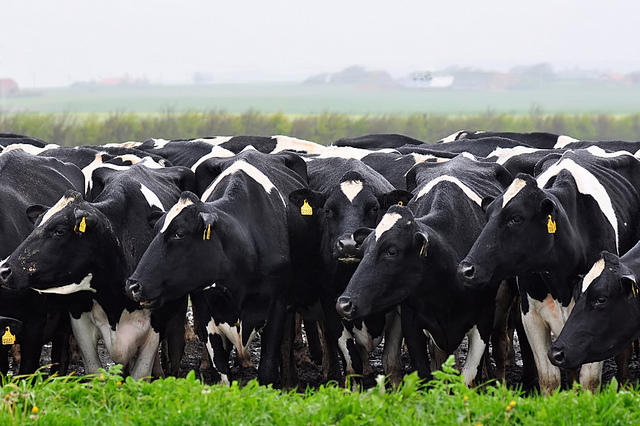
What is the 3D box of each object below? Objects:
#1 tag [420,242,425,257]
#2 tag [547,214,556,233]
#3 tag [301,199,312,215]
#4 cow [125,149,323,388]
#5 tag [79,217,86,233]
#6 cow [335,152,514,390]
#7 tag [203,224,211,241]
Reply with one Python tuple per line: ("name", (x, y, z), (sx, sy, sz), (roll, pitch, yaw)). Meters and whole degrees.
("tag", (1.216, 0.419, 8.601), (0.033, 0.177, 0.023), (21, 20, 16))
("tag", (2.736, 0.121, 8.567), (0.071, 0.214, 0.178), (0, 1, 26))
("tag", (-0.175, -0.090, 10.070), (0.210, 0.282, 0.037), (1, -29, -3))
("cow", (-1.039, 0.687, 9.439), (1.265, 3.163, 2.971), (0, 1, 26))
("tag", (-2.890, 0.133, 8.880), (0.089, 0.175, 0.037), (-1, 1, -42))
("cow", (1.503, 0.765, 9.465), (1.479, 3.004, 2.988), (0, 1, 28))
("tag", (-1.326, 0.230, 8.554), (0.088, 0.165, 0.038), (7, 9, 6))
